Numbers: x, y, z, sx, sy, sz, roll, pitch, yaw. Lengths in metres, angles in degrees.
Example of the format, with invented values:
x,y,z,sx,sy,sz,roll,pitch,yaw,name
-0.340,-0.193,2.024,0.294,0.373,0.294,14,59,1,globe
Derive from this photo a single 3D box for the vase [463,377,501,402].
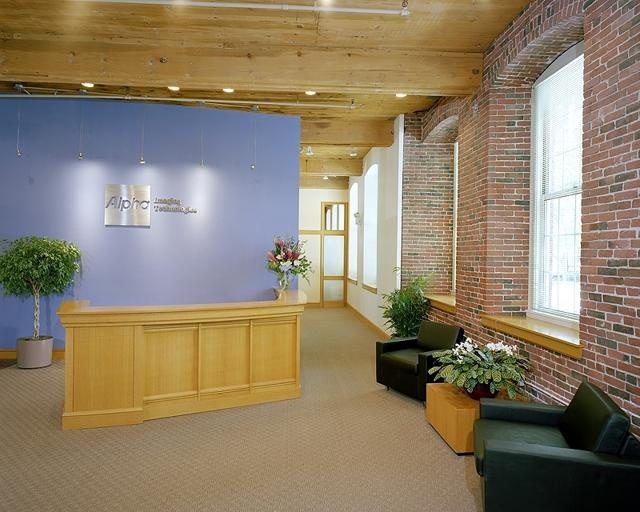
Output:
x,y,z,sx,sy,sz,roll,pitch,yaw,name
1.792,1.464,5.164,0.256,0.190,0.268,2,-8,-13,vase

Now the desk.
x,y,z,sx,sy,sz,roll,pitch,yaw,name
1.712,1.842,5.363,0.710,0.522,1.016,-1,1,-7,desk

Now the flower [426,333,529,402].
x,y,z,sx,sy,sz,roll,pitch,yaw,name
1.927,1.316,5.501,1.138,0.647,1.004,2,-1,-31,flower

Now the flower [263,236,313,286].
x,y,z,sx,sy,sz,roll,pitch,yaw,name
-0.446,0.137,6.571,0.571,0.631,0.564,5,-3,43,flower

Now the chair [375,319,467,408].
x,y,z,sx,sy,sz,roll,pitch,yaw,name
1.456,1.440,6.635,0.939,0.935,1.008,0,2,-38,chair
